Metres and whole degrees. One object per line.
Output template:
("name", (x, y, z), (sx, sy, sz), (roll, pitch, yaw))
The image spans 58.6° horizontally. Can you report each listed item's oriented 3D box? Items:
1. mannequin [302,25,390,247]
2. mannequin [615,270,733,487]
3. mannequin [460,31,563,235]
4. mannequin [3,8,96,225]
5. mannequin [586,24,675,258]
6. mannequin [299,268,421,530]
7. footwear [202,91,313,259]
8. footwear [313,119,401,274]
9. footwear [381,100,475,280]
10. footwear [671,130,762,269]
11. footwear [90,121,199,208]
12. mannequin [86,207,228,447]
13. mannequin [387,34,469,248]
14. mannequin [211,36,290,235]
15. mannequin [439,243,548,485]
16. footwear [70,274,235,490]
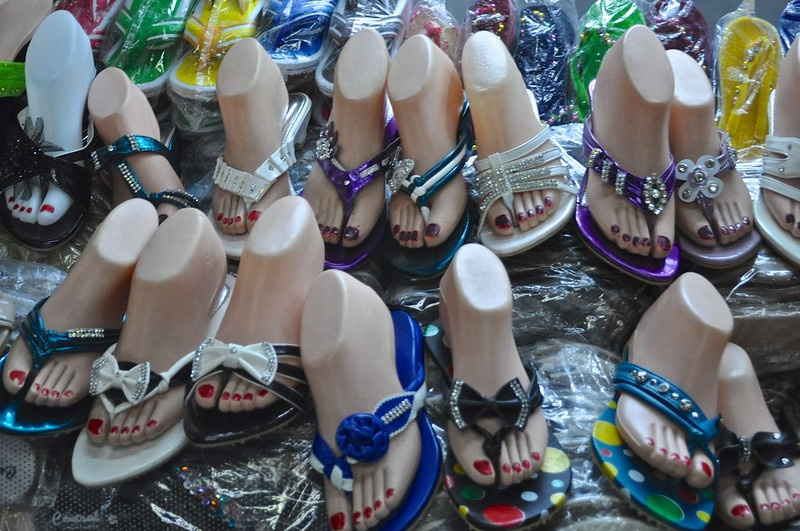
("mannequin", (-0.126, -0.423, 2.229), (0.215, 0.297, 0.719), (3, 60, 3))
("mannequin", (0.728, 0.210, 1.984), (0.213, 0.294, 0.685), (8, 44, -1))
("mannequin", (0.310, -0.385, 2.205), (0.227, 0.182, 0.668), (-18, 89, 25))
("mannequin", (-1.124, -0.504, 2.468), (0.219, 0.306, 0.754), (1, 67, -12))
("mannequin", (0.658, -0.373, 2.111), (0.214, 0.298, 0.729), (-3, 70, 5))
("mannequin", (-0.139, 0.297, 1.949), (0.232, 0.302, 0.766), (-16, 63, 20))
("footwear", (-0.443, -0.303, 2.350), (0.216, 0.150, 0.668), (8, 78, 24))
("footwear", (-0.148, -0.226, 2.229), (0.181, 0.126, 0.548), (4, 77, 13))
("footwear", (0.094, -0.210, 2.166), (0.203, 0.156, 0.605), (2, 73, 25))
("footwear", (0.936, -0.193, 2.143), (0.246, 0.288, 0.327), (0, 35, -10))
("footwear", (-0.817, -0.314, 2.335), (0.413, 0.160, 0.228), (34, 42, 31))
("mannequin", (-0.615, 0.151, 2.025), (0.244, 0.259, 0.747), (11, 68, 2))
("mannequin", (0.075, -0.363, 2.163), (0.204, 0.294, 0.698), (-3, 71, 17))
("mannequin", (-0.480, -0.459, 2.282), (0.203, 0.259, 0.685), (-3, 62, 5))
("mannequin", (0.206, 0.251, 1.907), (0.208, 0.266, 0.642), (-7, 59, 3))
("footwear", (-0.799, 0.337, 2.174), (0.305, 0.218, 0.886), (1, 16, -16))
